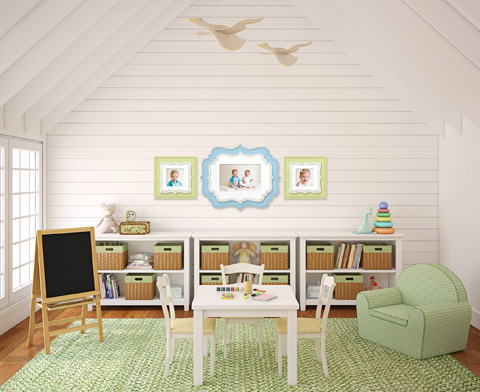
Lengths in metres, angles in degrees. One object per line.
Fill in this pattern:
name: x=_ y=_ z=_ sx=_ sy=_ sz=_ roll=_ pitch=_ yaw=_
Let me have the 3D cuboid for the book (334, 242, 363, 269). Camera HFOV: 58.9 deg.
book: x=1.457 y=0.794 z=5.831 sx=0.333 sy=0.394 sz=0.424 roll=3 pitch=0 yaw=0

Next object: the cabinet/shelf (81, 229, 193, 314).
cabinet/shelf: x=-1.310 y=0.965 z=5.376 sx=1.341 sy=0.999 sz=0.455 roll=0 pitch=-2 yaw=0

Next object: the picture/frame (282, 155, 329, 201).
picture/frame: x=0.925 y=-0.263 z=5.910 sx=0.713 sy=0.641 sz=0.088 roll=0 pitch=0 yaw=1

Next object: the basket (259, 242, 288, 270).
basket: x=0.460 y=0.785 z=5.583 sx=0.365 sy=0.244 sz=0.345 roll=0 pitch=-3 yaw=-1

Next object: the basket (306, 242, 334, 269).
basket: x=1.069 y=0.793 z=5.661 sx=0.350 sy=0.235 sz=0.320 roll=-1 pitch=2 yaw=9

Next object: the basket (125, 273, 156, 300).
basket: x=-1.314 y=1.202 z=5.725 sx=0.354 sy=0.243 sz=0.352 roll=1 pitch=-1 yaw=0

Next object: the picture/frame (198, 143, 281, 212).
picture/frame: x=0.031 y=-0.273 z=5.916 sx=1.055 sy=0.840 sz=0.051 roll=-1 pitch=0 yaw=-1

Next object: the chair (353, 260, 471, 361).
chair: x=1.818 y=1.203 z=4.699 sx=0.931 sy=1.039 sz=1.217 roll=4 pitch=-3 yaw=-24

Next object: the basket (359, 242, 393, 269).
basket: x=1.817 y=0.788 z=5.665 sx=0.368 sy=0.241 sz=0.343 roll=0 pitch=1 yaw=8

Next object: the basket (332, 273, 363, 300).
basket: x=1.421 y=1.184 z=5.824 sx=0.493 sy=0.425 sz=0.469 roll=1 pitch=-2 yaw=-1

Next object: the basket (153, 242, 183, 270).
basket: x=-0.927 y=0.798 z=5.698 sx=0.361 sy=0.242 sz=0.350 roll=1 pitch=0 yaw=2

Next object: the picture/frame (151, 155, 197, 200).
picture/frame: x=-0.900 y=-0.272 z=5.917 sx=0.694 sy=0.623 sz=0.057 roll=0 pitch=0 yaw=1

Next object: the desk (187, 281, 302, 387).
desk: x=0.053 y=1.251 z=4.078 sx=0.889 sy=0.657 sz=0.842 roll=-1 pitch=-4 yaw=-1

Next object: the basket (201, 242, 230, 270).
basket: x=-0.324 y=0.801 z=5.660 sx=0.387 sy=0.313 sz=0.417 roll=-1 pitch=7 yaw=-5

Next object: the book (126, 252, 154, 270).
book: x=-1.327 y=0.852 z=5.642 sx=0.252 sy=0.109 sz=0.238 roll=0 pitch=1 yaw=0

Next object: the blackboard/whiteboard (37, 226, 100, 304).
blackboard/whiteboard: x=-1.806 y=0.706 z=4.506 sx=0.565 sy=0.708 sz=0.277 roll=-4 pitch=8 yaw=-26

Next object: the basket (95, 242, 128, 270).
basket: x=-1.661 y=0.785 z=5.666 sx=0.388 sy=0.257 sz=0.356 roll=0 pitch=0 yaw=14
